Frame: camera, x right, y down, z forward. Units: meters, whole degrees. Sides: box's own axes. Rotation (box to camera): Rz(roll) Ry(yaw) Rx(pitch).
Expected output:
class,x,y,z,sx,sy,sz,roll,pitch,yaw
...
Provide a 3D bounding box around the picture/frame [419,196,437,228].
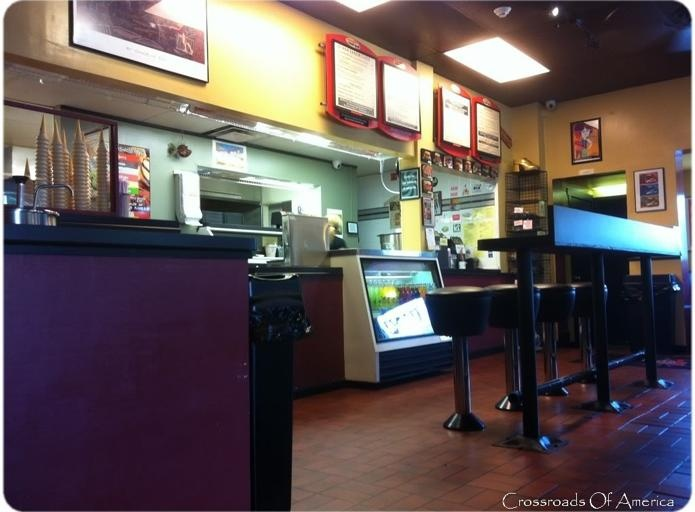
class,x,y,z,sx,sy,sz,roll,pitch,yaw
picture/frame,0.997,-0.540,6.697,0.051,0.492,0.412,-3,-5,34

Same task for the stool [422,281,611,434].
class,x,y,z,sx,sy,sz,roll,pitch,yaw
stool,1.080,0.651,3.848,0.934,1.522,0.842,-3,0,4

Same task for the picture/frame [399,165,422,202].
class,x,y,z,sx,sy,sz,roll,pitch,yaw
picture/frame,0.801,-0.897,6.685,0.449,0.583,0.044,-2,-4,45

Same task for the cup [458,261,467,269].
class,x,y,z,sx,sy,sz,roll,pitch,yaw
cup,1.505,0.127,6.989,0.099,0.097,0.080,1,-1,6

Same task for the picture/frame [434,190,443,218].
class,x,y,z,sx,sy,sz,roll,pitch,yaw
picture/frame,1.344,-0.760,7.920,0.041,0.589,0.515,-1,-3,20

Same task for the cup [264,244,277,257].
class,x,y,z,sx,sy,sz,roll,pitch,yaw
cup,-1.118,-0.069,7.868,0.158,0.104,0.158,0,-2,0
